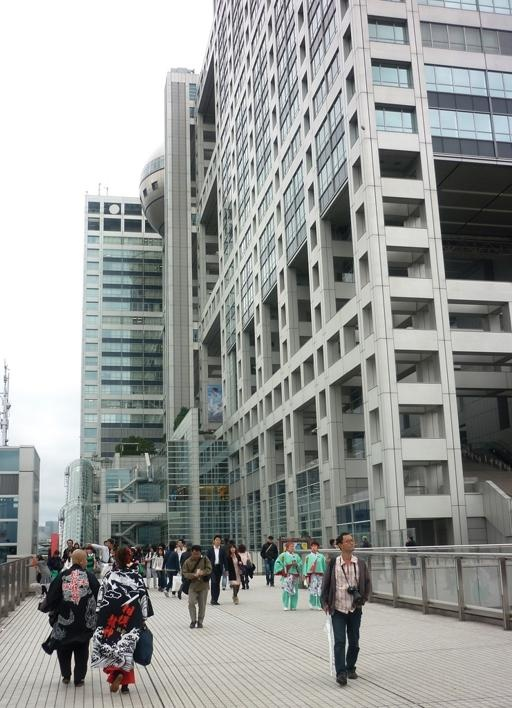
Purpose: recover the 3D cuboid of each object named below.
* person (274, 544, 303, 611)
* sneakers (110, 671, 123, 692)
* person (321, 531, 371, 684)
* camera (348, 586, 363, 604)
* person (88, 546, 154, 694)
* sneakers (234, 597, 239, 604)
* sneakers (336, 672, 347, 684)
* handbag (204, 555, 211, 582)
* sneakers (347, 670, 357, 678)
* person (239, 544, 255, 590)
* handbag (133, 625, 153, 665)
[{"bbox_3d":[0.913,6.231,16.551,0.657,1.754,1.203,-4,-15,3],"label":"person"},{"bbox_3d":[-1.360,3.203,5.756,0.109,0.239,0.468,0,-16,-13],"label":"sneakers"},{"bbox_3d":[1.002,2.769,6.483,0.547,1.516,1.144,-5,-15,9],"label":"person"},{"bbox_3d":[1.048,2.542,6.158,0.129,0.216,0.187,0,-16,-12],"label":"camera"},{"bbox_3d":[-1.330,2.649,5.893,0.570,1.375,0.556,1,-15,-13],"label":"person"},{"bbox_3d":[-0.590,7.654,18.324,0.099,0.161,0.352,1,-15,-4],"label":"sneakers"},{"bbox_3d":[0.860,3.258,5.908,0.087,0.103,0.119,-7,-16,15],"label":"sneakers"},{"bbox_3d":[-1.037,4.646,12.794,0.149,0.433,0.310,-2,-17,-13],"label":"handbag"},{"bbox_3d":[1.032,3.407,6.280,0.051,0.067,0.150,1,-20,-7],"label":"sneakers"},{"bbox_3d":[-0.473,9.168,25.392,0.674,1.940,0.609,-6,2,-7],"label":"person"},{"bbox_3d":[-1.093,2.859,5.783,0.169,0.347,0.297,-5,-15,6],"label":"handbag"}]
